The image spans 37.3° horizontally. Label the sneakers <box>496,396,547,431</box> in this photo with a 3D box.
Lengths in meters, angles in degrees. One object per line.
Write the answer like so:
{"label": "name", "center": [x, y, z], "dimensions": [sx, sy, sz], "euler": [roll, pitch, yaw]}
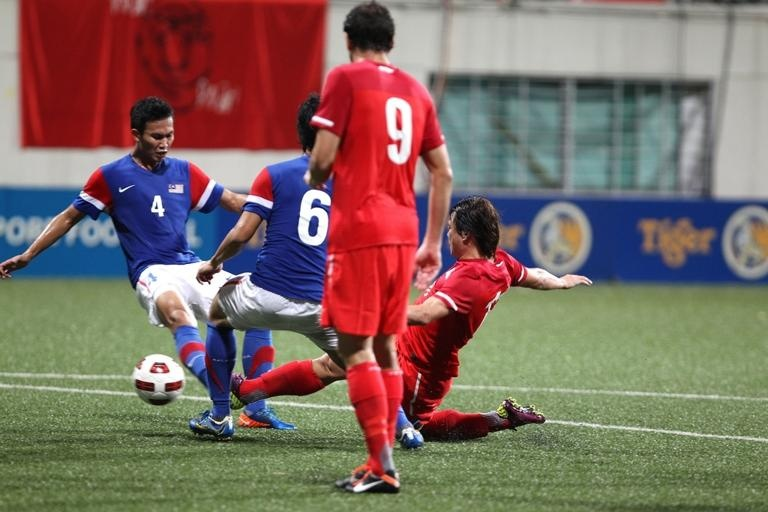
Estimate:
{"label": "sneakers", "center": [1.030, 1.197, 8.612], "dimensions": [0.342, 0.168, 0.205], "euler": [-2, 9, -5]}

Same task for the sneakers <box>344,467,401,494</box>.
{"label": "sneakers", "center": [-0.086, 1.524, 7.696], "dimensions": [0.301, 0.129, 0.176], "euler": [4, -8, 0]}

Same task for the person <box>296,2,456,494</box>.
{"label": "person", "center": [-0.032, -0.082, 7.775], "dimensions": [0.731, 3.258, 0.869], "euler": [8, 12, 38]}

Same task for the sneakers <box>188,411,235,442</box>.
{"label": "sneakers", "center": [-1.260, 1.273, 8.477], "dimensions": [0.386, 0.209, 0.151], "euler": [8, -23, 14]}

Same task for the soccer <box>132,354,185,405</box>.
{"label": "soccer", "center": [-1.706, 0.935, 8.619], "dimensions": [0.370, 0.372, 0.370], "euler": [1, -5, -8]}

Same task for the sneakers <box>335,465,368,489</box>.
{"label": "sneakers", "center": [-0.224, 1.511, 7.681], "dimensions": [0.228, 0.094, 0.138], "euler": [-22, -3, -22]}

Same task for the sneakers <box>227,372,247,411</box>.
{"label": "sneakers", "center": [-1.101, 1.022, 8.420], "dimensions": [0.095, 0.197, 0.277], "euler": [2, 9, -10]}

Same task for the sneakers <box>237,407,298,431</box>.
{"label": "sneakers", "center": [-0.936, 1.271, 8.819], "dimensions": [0.493, 0.212, 0.175], "euler": [3, -8, 2]}
